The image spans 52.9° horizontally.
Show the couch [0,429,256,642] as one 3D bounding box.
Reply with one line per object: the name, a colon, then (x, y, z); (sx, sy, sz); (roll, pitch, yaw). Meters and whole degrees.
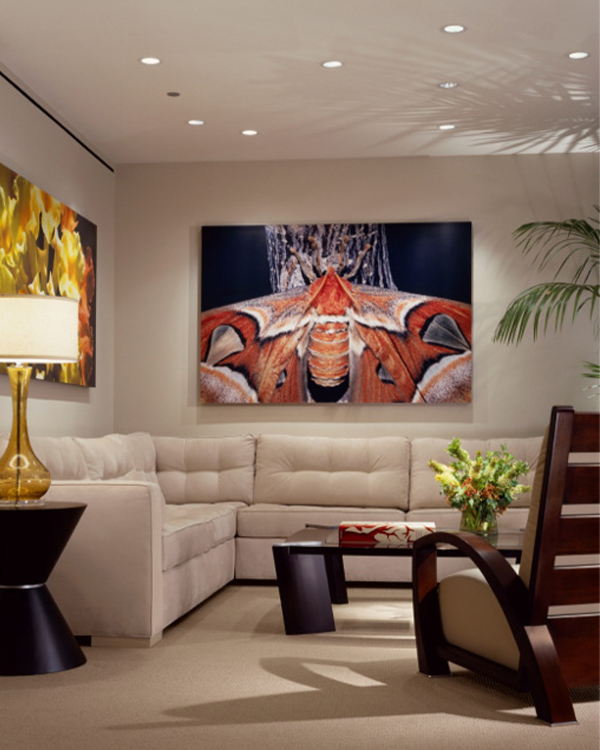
couch: (-0.753, 0.743, 2.687); (0.419, 0.487, 1.074); (0, -3, 2)
